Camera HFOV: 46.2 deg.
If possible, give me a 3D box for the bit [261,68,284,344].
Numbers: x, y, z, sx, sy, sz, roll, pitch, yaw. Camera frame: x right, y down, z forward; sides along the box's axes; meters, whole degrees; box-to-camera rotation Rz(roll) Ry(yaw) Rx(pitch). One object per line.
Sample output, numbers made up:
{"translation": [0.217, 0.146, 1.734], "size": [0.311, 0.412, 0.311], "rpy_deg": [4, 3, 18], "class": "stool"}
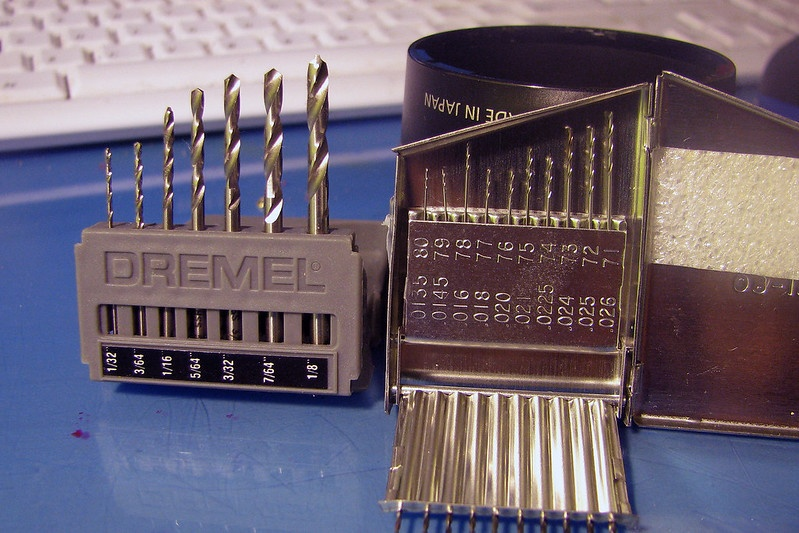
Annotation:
{"translation": [-0.146, -0.131, 1.067], "size": [0.023, 0.182, 0.030], "rpy_deg": [-2, 5, -8], "class": "bit"}
